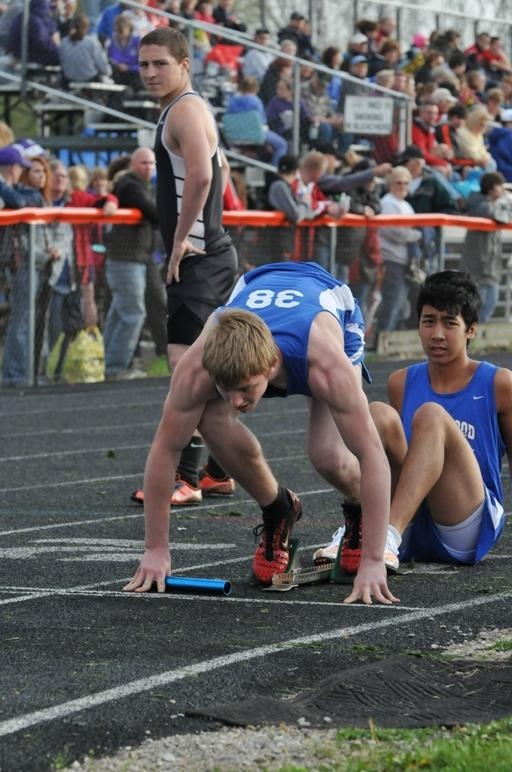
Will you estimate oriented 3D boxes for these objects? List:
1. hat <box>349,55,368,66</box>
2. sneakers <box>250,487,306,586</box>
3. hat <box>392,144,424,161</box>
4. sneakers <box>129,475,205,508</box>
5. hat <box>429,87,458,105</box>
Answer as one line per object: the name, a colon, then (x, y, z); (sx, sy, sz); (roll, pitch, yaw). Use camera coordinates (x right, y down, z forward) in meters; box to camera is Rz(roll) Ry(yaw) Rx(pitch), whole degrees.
hat: (1.239, -3.981, 12.994); (0.159, 0.099, 0.212); (-9, 0, -31)
sneakers: (0.065, 0.580, 4.211); (0.167, 0.382, 0.186); (7, -11, 24)
hat: (1.715, -2.619, 11.982); (0.278, 0.126, 0.189); (-20, 23, -32)
sneakers: (-0.510, 0.571, 5.866); (0.175, 0.179, 0.485); (-6, -9, 39)
hat: (2.295, -3.571, 13.232); (0.427, 0.190, 0.274); (-3, 11, -41)
